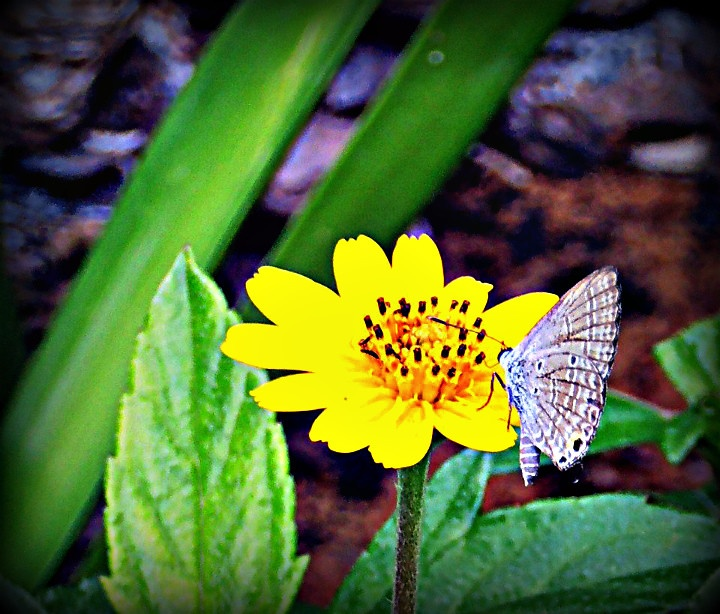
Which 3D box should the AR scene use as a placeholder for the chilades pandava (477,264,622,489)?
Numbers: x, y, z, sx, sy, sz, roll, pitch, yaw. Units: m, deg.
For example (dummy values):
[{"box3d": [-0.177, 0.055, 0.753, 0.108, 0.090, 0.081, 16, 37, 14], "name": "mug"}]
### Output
[{"box3d": [0.340, 0.143, 1.413, 0.170, 0.316, 0.216, 35, 111, 9], "name": "chilades pandava"}]
